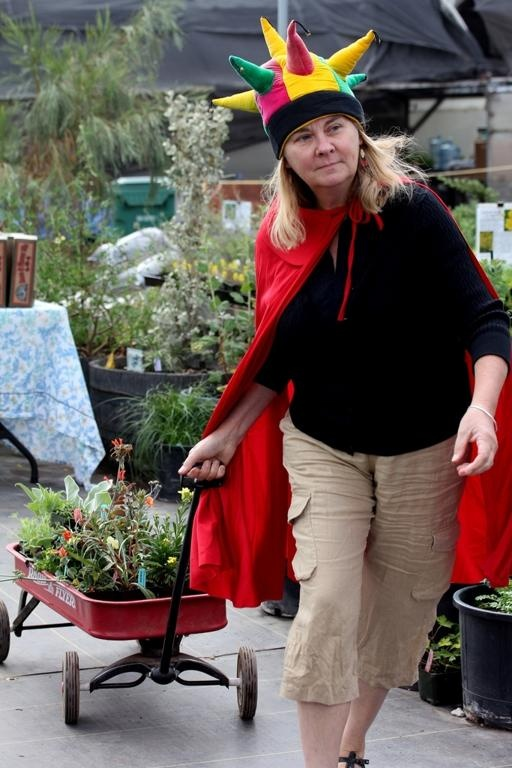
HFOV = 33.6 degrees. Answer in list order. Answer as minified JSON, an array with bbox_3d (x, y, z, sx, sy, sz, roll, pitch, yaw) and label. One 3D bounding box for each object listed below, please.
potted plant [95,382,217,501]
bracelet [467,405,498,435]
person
[{"bbox_3d":[-0.642,0.325,5.545,0.576,0.552,0.559,-13,-6,-7],"label":"potted plant"},{"bbox_3d":[0.407,0.062,1.517,0.054,0.015,0.045,31,4,19],"label":"bracelet"},{"bbox_3d":[0.202,0.044,1.805,0.817,1.690,0.509,4,4,43],"label":"person"}]
